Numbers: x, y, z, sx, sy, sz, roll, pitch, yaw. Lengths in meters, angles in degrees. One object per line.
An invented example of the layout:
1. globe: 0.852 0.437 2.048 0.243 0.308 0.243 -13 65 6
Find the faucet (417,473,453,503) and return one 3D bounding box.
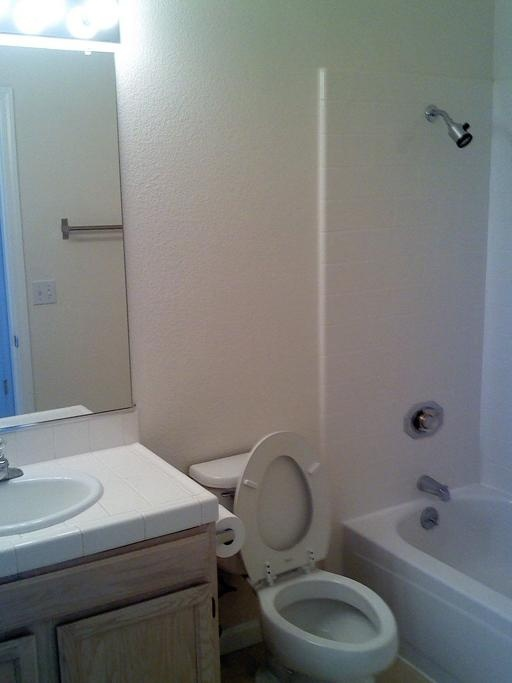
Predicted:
1. faucet: 0.680 0.572 2.213 0.120 0.085 0.043 32 -11 16

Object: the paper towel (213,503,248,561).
1. paper towel: -0.067 0.515 1.488 0.075 0.098 0.105 10 -19 10
